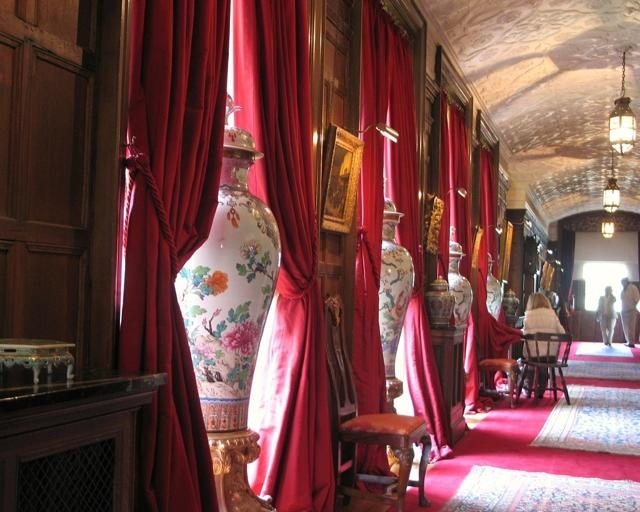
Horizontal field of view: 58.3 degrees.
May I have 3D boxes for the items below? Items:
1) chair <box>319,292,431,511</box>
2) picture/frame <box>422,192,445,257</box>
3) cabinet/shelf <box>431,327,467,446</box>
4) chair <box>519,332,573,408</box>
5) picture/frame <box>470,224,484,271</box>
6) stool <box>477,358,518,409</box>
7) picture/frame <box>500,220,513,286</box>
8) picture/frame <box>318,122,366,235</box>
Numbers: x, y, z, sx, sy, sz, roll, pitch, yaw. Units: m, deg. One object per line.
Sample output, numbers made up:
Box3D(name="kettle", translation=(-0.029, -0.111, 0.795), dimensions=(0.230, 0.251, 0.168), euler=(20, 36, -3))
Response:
Box3D(name="chair", translation=(0.401, 1.045, 4.114), dimensions=(0.695, 1.516, 0.773), euler=(0, -3, 10))
Box3D(name="picture/frame", translation=(1.328, -0.401, 6.754), dimensions=(0.229, 0.746, 0.420), euler=(-1, -3, 14))
Box3D(name="cabinet/shelf", translation=(1.337, 1.373, 6.063), dimensions=(0.420, 1.543, 1.032), euler=(-2, -2, 14))
Box3D(name="chair", translation=(3.363, 1.656, 8.461), dimensions=(0.578, 1.013, 0.598), euler=(-1, -2, -43))
Box3D(name="picture/frame", translation=(2.514, -0.143, 9.265), dimensions=(0.084, 0.986, 0.476), euler=(2, -13, 22))
Box3D(name="stool", translation=(2.608, 1.837, 8.454), dimensions=(0.583, 0.826, 0.609), euler=(-4, -1, 29))
Box3D(name="picture/frame", translation=(4.212, -0.100, 13.170), dimensions=(0.085, 1.267, 0.843), euler=(7, 4, 8))
Box3D(name="picture/frame", translation=(0.157, -0.574, 4.391), dimensions=(0.070, 1.062, 0.741), euler=(3, -5, 19))
